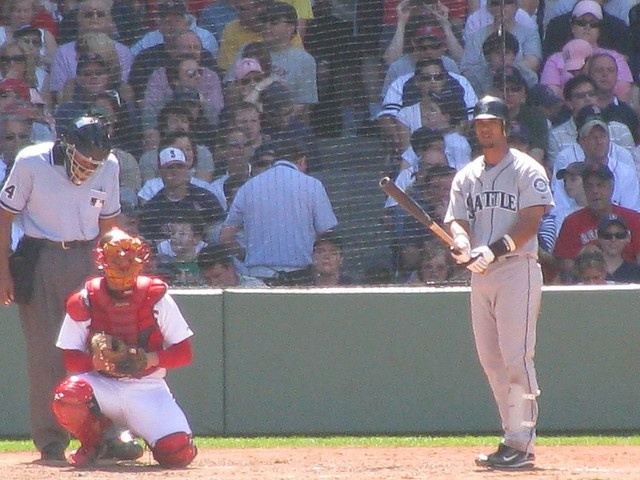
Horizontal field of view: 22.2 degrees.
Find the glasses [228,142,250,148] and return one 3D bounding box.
[{"bbox_3d":[-0.713,-0.865,14.512,0.210,0.050,0.042,5,14,25],"label":"glasses"}]

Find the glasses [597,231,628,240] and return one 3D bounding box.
[{"bbox_3d":[2.540,-0.055,14.071,0.246,0.069,0.084,2,12,8],"label":"glasses"}]

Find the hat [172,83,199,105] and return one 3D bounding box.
[{"bbox_3d":[-1.230,-1.348,14.896,0.268,0.103,0.292,0,1,-5],"label":"hat"}]

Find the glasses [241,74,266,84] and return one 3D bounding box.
[{"bbox_3d":[-0.609,-1.497,14.988,0.158,0.047,0.114,1,-5,-20],"label":"glasses"}]

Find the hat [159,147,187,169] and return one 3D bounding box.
[{"bbox_3d":[-1.308,-0.759,14.480,0.180,0.114,0.236,-4,6,-17],"label":"hat"}]

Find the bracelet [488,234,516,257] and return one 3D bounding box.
[{"bbox_3d":[1.365,0.037,12.087,0.200,0.177,0.082,0,14,-1],"label":"bracelet"}]

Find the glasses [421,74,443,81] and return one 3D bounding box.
[{"bbox_3d":[1.026,-1.497,14.758,0.120,0.030,0.112,-2,-13,10],"label":"glasses"}]

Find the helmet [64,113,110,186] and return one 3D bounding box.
[{"bbox_3d":[-1.768,-0.688,12.384,0.355,0.509,0.215,-2,14,-11],"label":"helmet"}]

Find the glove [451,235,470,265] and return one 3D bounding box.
[{"bbox_3d":[1.082,0.051,12.178,0.158,0.186,0.074,3,-3,44],"label":"glove"}]

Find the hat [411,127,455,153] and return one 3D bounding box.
[{"bbox_3d":[1.004,-0.909,14.440,0.292,0.211,0.218,-20,10,27],"label":"hat"}]

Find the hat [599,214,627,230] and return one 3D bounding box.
[{"bbox_3d":[2.550,-0.174,14.119,0.235,0.114,0.196,1,11,5],"label":"hat"}]

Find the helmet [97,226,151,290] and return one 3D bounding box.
[{"bbox_3d":[-1.464,0.133,11.985,0.391,0.364,0.455,0,3,-12],"label":"helmet"}]

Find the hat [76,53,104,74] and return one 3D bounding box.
[{"bbox_3d":[-2.083,-1.641,14.892,0.282,0.149,0.080,-2,13,-10],"label":"hat"}]

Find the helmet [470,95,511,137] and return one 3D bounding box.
[{"bbox_3d":[1.307,-0.984,12.349,0.258,0.170,0.318,-3,-1,20],"label":"helmet"}]

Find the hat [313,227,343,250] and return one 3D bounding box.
[{"bbox_3d":[0.083,-0.031,14.073,0.247,0.156,0.152,1,12,1],"label":"hat"}]

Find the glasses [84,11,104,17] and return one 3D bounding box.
[{"bbox_3d":[-2.084,-2.114,15.079,0.097,0.025,0.087,-1,-11,-2],"label":"glasses"}]

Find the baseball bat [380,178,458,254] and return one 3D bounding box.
[{"bbox_3d":[0.848,-0.197,13.544,0.107,0.936,0.131,-39,17,45],"label":"baseball bat"}]

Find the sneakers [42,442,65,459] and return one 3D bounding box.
[{"bbox_3d":[-2.006,1.580,12.380,0.154,0.117,0.147,1,1,37],"label":"sneakers"}]

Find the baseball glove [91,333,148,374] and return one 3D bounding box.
[{"bbox_3d":[-1.470,0.828,11.906,0.411,0.299,0.132,3,14,12],"label":"baseball glove"}]

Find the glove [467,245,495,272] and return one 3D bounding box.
[{"bbox_3d":[1.206,0.135,12.073,0.192,0.198,0.097,2,13,5],"label":"glove"}]

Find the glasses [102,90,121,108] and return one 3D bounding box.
[{"bbox_3d":[-1.857,-1.300,14.748,0.101,0.035,0.197,-17,33,-17],"label":"glasses"}]

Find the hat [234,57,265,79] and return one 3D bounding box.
[{"bbox_3d":[-0.668,-1.619,15.074,0.204,0.195,0.248,-12,26,-20],"label":"hat"}]

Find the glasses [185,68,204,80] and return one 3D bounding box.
[{"bbox_3d":[-1.165,-1.569,15.091,0.092,0.079,0.104,12,50,19],"label":"glasses"}]

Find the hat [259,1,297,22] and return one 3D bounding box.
[{"bbox_3d":[-0.393,-2.150,15.264,0.288,0.064,0.216,4,41,5],"label":"hat"}]
